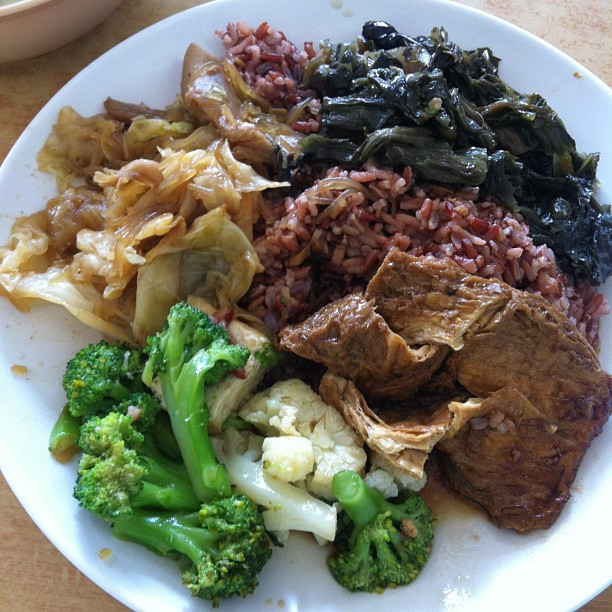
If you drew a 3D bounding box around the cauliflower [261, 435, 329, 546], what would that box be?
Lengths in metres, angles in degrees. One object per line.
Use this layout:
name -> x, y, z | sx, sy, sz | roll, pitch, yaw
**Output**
cauliflower -> -0.046, 0.765, 2.904 | 0.214, 0.291, 0.464 | -7, 62, -38
